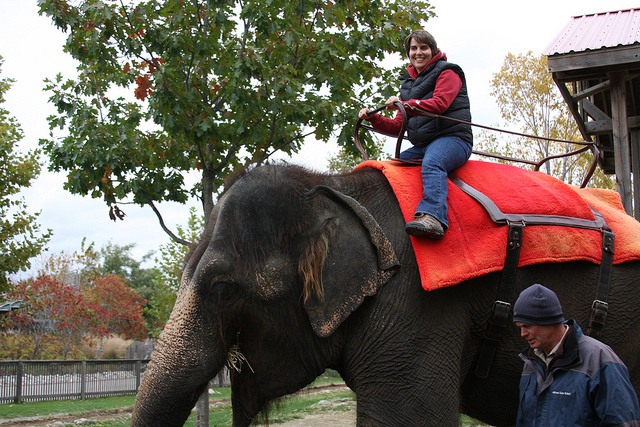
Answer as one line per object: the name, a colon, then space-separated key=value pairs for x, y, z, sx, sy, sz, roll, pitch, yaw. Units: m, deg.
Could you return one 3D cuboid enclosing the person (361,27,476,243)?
person: x=0.928 y=-0.771 z=6.016 sx=1.103 sy=1.971 sz=1.003 roll=2 pitch=-5 yaw=-20
